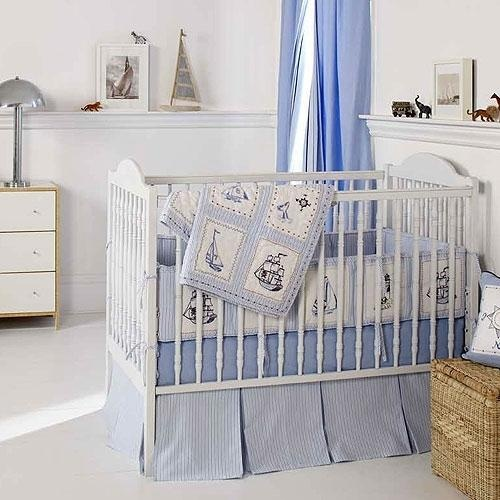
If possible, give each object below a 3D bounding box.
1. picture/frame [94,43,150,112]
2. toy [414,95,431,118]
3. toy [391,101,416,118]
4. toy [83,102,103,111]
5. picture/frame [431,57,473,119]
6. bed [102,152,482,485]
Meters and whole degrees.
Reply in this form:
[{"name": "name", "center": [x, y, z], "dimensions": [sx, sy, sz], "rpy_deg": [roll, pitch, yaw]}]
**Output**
[{"name": "picture/frame", "center": [-0.779, -1.048, 4.017], "dimensions": [0.331, 0.522, 0.022], "rpy_deg": [-2, 13, -14]}, {"name": "toy", "center": [0.734, -0.617, 2.872], "dimensions": [0.051, 0.104, 0.170], "rpy_deg": [2, 8, 1]}, {"name": "toy", "center": [0.678, -0.623, 2.965], "dimensions": [0.103, 0.064, 0.062], "rpy_deg": [5, 8, 18]}, {"name": "toy", "center": [-0.938, -0.853, 3.978], "dimensions": [0.120, 0.072, 0.118], "rpy_deg": [1, 8, -15]}, {"name": "picture/frame", "center": [0.790, -0.632, 2.617], "dimensions": [0.037, 0.287, 0.246], "rpy_deg": [-1, 3, -14]}, {"name": "bed", "center": [0.117, 0.067, 2.700], "dimensions": [1.278, 1.273, 0.921], "rpy_deg": [-4, 10, -24]}]
